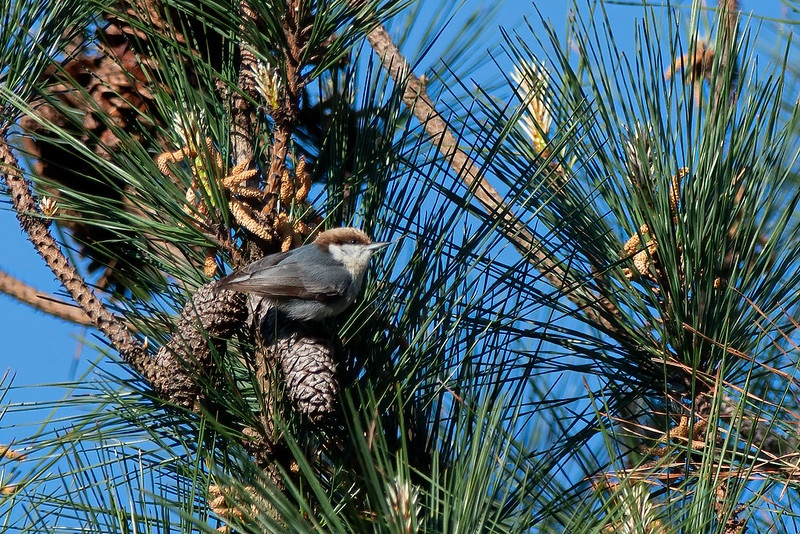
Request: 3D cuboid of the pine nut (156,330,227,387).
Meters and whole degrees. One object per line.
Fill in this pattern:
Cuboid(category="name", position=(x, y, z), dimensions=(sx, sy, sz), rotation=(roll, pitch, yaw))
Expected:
Cuboid(category="pine nut", position=(-0.714, 0.288, 4.543), dimensions=(0.237, 0.187, 0.362), rotation=(3, -15, -11))

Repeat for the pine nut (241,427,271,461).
Cuboid(category="pine nut", position=(-0.494, 0.615, 4.620), dimensions=(0.074, 0.121, 0.049), rotation=(-34, 6, 44))

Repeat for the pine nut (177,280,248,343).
Cuboid(category="pine nut", position=(-0.666, 0.155, 4.675), dimensions=(0.244, 0.231, 0.256), rotation=(-2, -14, 8))

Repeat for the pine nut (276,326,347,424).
Cuboid(category="pine nut", position=(-0.330, 0.365, 4.721), dimensions=(0.232, 0.386, 0.204), rotation=(0, -14, 0))

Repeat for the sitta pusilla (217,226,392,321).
Cuboid(category="sitta pusilla", position=(-0.304, 0.069, 5.060), dimensions=(0.502, 0.387, 0.274), rotation=(-3, -1, 8))
